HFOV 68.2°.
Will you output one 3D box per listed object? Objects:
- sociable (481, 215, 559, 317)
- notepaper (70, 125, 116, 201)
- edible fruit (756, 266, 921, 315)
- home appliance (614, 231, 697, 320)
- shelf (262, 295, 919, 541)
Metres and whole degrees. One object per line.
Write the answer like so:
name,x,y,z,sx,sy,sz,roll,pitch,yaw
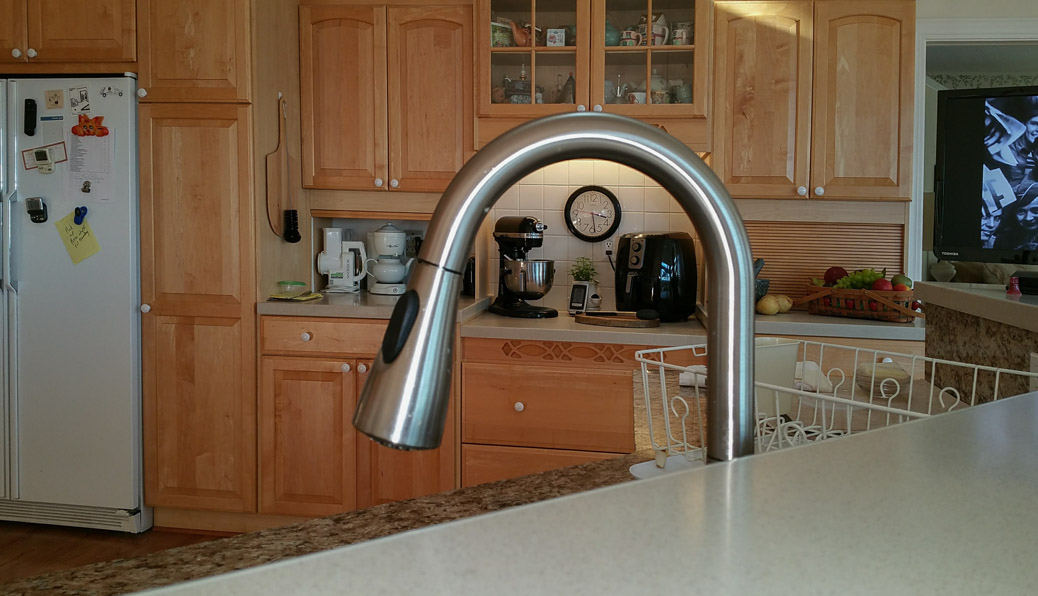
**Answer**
sociable,0.032,-0.184,4.033,0.348,0.504,0.415,-1,4,-36
notepaper,-2.076,-0.654,3.738,0.219,0.351,0.030,1,6,5
edible fruit,1.677,-0.007,3.833,0.486,0.150,0.366,3,7,29
home appliance,0.733,-0.121,4.039,0.489,0.442,0.469,5,6,28
shelf,0.312,0.745,3.902,0.637,1.120,3.298,5,-9,-33
